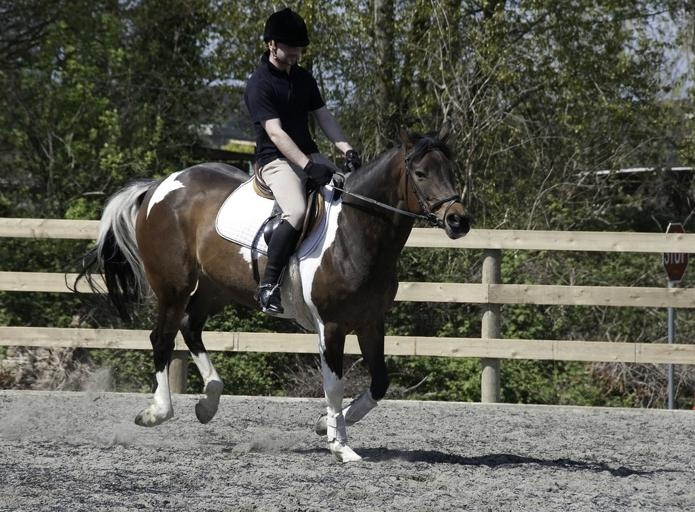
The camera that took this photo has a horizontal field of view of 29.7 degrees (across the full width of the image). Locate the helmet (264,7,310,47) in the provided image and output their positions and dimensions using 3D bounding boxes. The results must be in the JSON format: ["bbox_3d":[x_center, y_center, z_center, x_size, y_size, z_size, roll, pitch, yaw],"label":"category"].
[{"bbox_3d":[-0.759,-2.769,15.999,0.399,0.363,0.516,-11,18,-41],"label":"helmet"}]

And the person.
[{"bbox_3d":[-0.631,-1.166,16.111,1.253,3.662,0.904,-2,6,-7],"label":"person"}]

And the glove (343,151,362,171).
[{"bbox_3d":[0.071,-1.169,16.273,0.177,0.255,0.217,3,7,-11],"label":"glove"}]
